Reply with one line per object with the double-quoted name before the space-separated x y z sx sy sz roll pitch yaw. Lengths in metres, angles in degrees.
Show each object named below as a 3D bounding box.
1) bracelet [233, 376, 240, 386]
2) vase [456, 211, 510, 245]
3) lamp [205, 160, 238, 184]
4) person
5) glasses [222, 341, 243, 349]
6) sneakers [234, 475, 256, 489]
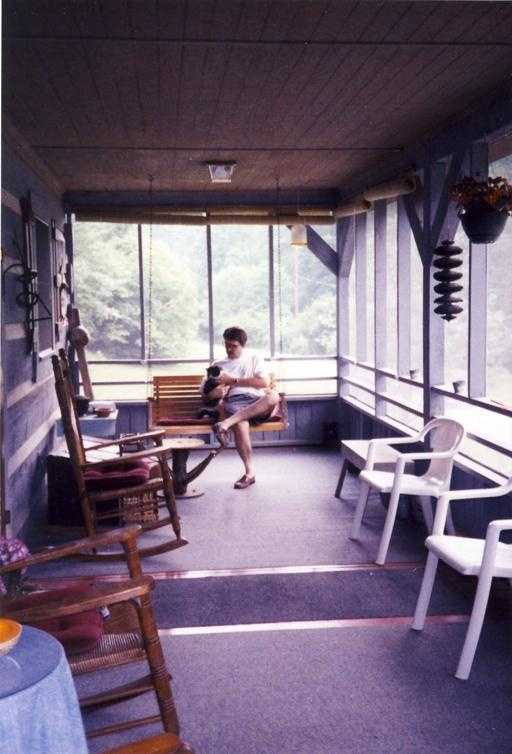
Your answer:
"bracelet" -0.181 0.028 5.553 0.046 0.076 0.066 2 -7 3
"vase" 1.177 -0.783 3.034 0.181 0.115 0.187 1 -2 3
"lamp" -0.310 -1.813 5.169 0.281 0.219 0.252 6 12 22
"person" -0.152 0.246 5.451 0.709 1.433 0.989 -2 3 -6
"glasses" -0.224 -0.305 5.631 0.090 0.032 0.097 1 -35 10
"sneakers" -0.097 0.936 5.230 0.076 0.088 0.215 -4 -6 30
